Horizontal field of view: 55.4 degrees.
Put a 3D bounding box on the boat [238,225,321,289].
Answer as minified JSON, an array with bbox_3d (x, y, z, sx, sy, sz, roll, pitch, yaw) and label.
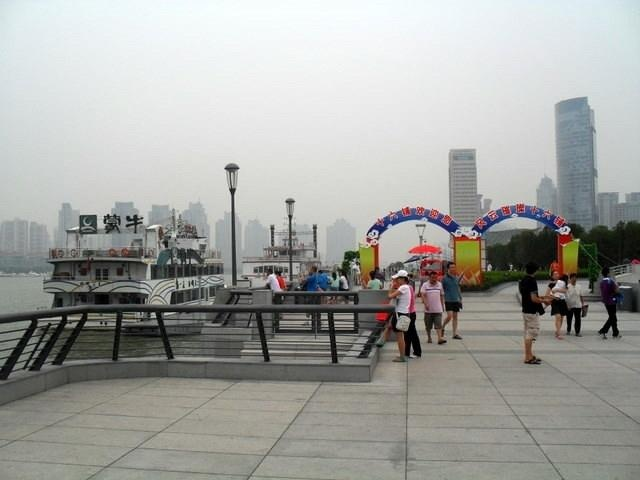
[{"bbox_3d":[-5.133,2.050,74.777,7.494,6.889,14.437,0,-4,6],"label":"boat"}]

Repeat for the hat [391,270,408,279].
[{"bbox_3d":[1.722,0.749,13.048,0.267,0.136,0.176,-5,9,6],"label":"hat"}]

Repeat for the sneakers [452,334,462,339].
[{"bbox_3d":[3.741,2.654,16.596,0.097,0.114,0.260,2,-11,-24],"label":"sneakers"}]

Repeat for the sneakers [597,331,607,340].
[{"bbox_3d":[7.711,2.544,16.626,0.163,0.237,0.494,-4,3,16],"label":"sneakers"}]

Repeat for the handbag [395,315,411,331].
[{"bbox_3d":[1.779,1.715,12.956,0.360,0.465,0.296,2,8,9],"label":"handbag"}]

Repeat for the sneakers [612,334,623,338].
[{"bbox_3d":[8.089,2.629,16.579,0.116,0.136,0.318,-4,-8,-2],"label":"sneakers"}]
